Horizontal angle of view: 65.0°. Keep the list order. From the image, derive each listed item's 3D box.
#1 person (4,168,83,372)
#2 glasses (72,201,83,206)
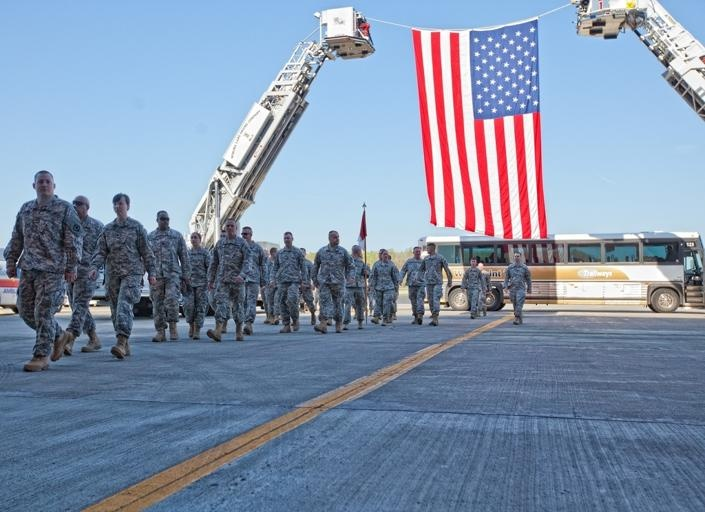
[{"bbox_3d":[-4.239,0.358,7.438,0.931,2.285,0.550,-2,-4,10],"label":"person"},{"bbox_3d":[-4.557,-0.865,9.125,0.087,0.061,0.084,-5,-16,23],"label":"glasses"}]
